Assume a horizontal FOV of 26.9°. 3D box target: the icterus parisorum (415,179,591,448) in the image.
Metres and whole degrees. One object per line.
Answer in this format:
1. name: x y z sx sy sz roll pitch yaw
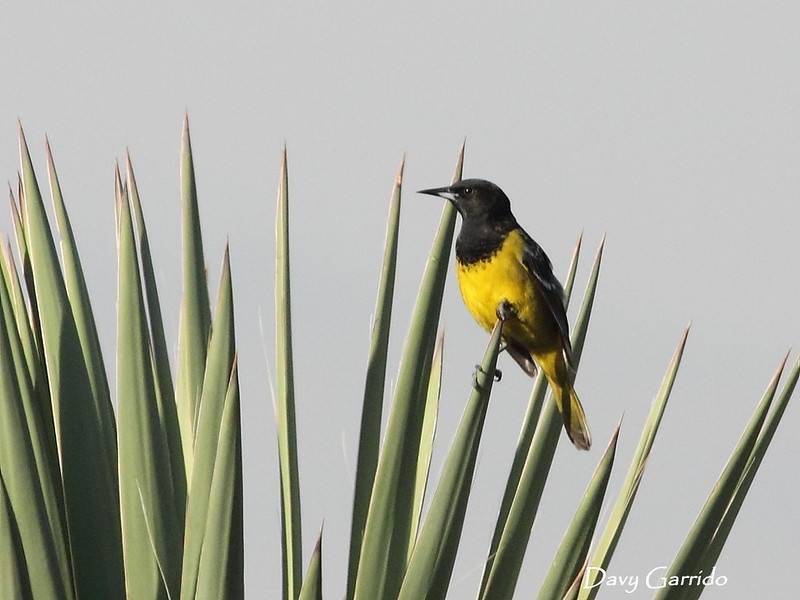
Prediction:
1. icterus parisorum: 0.374 0.018 5.405 0.545 0.840 0.301 12 -32 -37
